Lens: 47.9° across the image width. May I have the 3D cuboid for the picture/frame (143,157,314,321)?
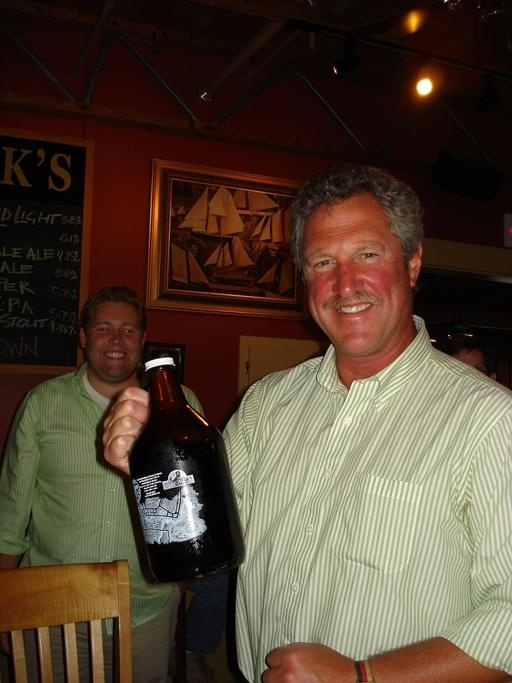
[{"bbox_3d":[-0.187,-0.484,2.819,1.074,0.776,0.071,2,-7,-20],"label":"picture/frame"}]

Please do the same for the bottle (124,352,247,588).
[{"bbox_3d":[-0.097,0.171,0.806,0.159,0.299,0.157,-1,-4,0],"label":"bottle"}]
